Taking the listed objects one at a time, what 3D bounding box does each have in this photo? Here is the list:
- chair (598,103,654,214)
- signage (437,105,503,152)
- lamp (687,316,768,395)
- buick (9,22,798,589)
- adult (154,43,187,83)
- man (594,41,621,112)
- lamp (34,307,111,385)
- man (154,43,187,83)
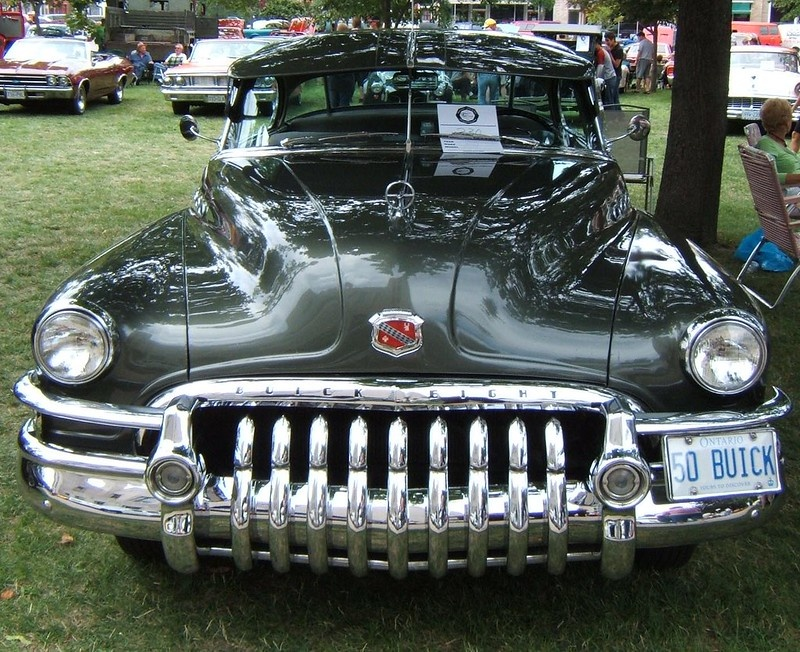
[{"bbox_3d":[2.186,-1.530,7.273,0.684,1.165,0.820,1,8,10],"label":"chair"},{"bbox_3d":[0.368,-1.023,3.854,0.303,0.306,0.083,4,-24,-8],"label":"signage"},{"bbox_3d":[1.103,0.102,2.477,0.243,0.263,0.062,6,1,-2],"label":"lamp"},{"bbox_3d":[0.083,-0.710,3.945,2.164,1.719,3.665,0,13,1],"label":"buick"},{"bbox_3d":[-6.025,-6.971,19.602,0.503,1.142,0.672,5,1,4],"label":"adult"},{"bbox_3d":[3.746,-4.409,13.087,0.318,1.272,0.376,-10,-5,5],"label":"man"},{"bbox_3d":[-1.124,0.071,2.528,0.277,0.236,0.098,-2,22,-1],"label":"lamp"},{"bbox_3d":[-6.213,-7.081,19.967,0.609,1.306,0.758,3,-6,19],"label":"man"}]
